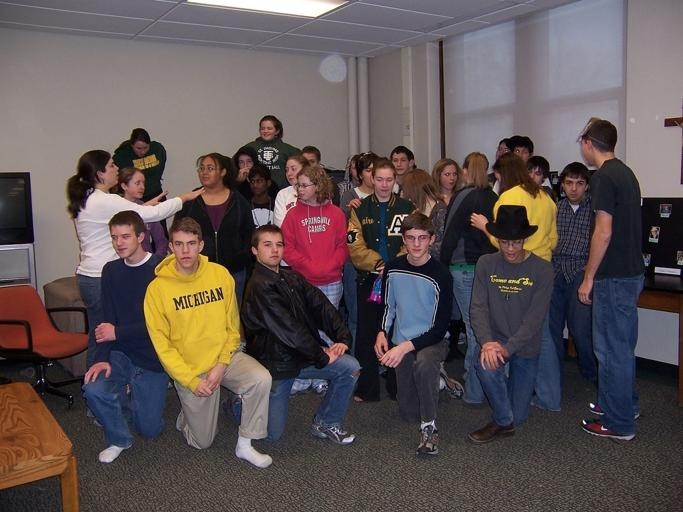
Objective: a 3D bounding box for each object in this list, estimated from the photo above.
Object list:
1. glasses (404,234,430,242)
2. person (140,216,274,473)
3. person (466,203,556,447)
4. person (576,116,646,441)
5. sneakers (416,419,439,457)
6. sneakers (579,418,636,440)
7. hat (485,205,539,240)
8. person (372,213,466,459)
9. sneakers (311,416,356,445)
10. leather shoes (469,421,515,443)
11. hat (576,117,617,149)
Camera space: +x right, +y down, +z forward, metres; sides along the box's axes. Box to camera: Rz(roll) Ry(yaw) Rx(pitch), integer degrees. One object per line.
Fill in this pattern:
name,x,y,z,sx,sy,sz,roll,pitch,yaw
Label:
glasses,0.546,-0.129,3.860,0.172,0.044,0.058,-2,14,-3
person,-0.878,0.559,3.720,0.861,1.599,0.504,1,14,12
person,1.155,0.450,3.937,0.666,1.586,0.448,-9,15,-28
person,1.876,0.163,3.797,0.473,2.171,0.477,4,15,23
sneakers,0.593,1.244,3.681,0.107,0.124,0.270,-4,0,17
sneakers,1.878,1.199,3.846,0.328,0.138,0.119,1,3,36
hat,1.213,-0.233,3.876,0.252,0.109,0.284,1,18,16
person,0.501,0.652,3.833,0.527,1.294,0.635,1,14,12
sneakers,-0.067,1.256,3.953,0.346,0.161,0.127,13,4,15
leather shoes,1.057,1.234,3.904,0.368,0.149,0.124,-4,11,-11
hat,1.784,-0.848,3.812,0.161,0.219,0.245,-15,19,-43
